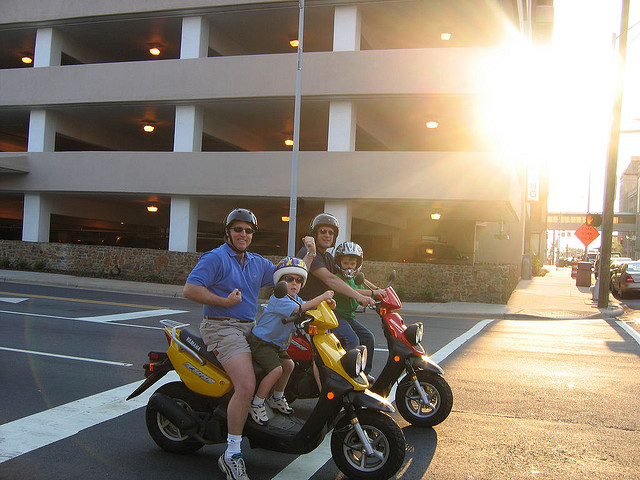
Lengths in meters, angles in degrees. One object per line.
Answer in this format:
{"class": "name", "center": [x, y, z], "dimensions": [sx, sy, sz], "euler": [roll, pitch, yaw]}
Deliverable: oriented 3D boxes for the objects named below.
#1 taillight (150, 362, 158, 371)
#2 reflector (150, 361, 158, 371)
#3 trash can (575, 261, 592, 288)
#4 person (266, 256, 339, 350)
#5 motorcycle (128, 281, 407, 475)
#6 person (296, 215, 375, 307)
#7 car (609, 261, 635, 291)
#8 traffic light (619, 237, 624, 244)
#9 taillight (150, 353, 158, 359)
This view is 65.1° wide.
{"class": "taillight", "center": [-1.712, 1.295, 5.135], "dimensions": [0.042, 0.066, 0.024], "euler": [-1, -17, 15]}
{"class": "reflector", "center": [-1.704, 1.286, 5.124], "dimensions": [0.025, 0.093, 0.086], "euler": [7, -7, -8]}
{"class": "trash can", "center": [15.877, 2.068, 30.295], "dimensions": [0.843, 1.241, 0.973], "euler": [1, -1, 33]}
{"class": "person", "center": [-0.380, 0.545, 4.957], "dimensions": [0.891, 0.681, 0.576], "euler": [-7, -2, 35]}
{"class": "motorcycle", "center": [-0.436, 1.301, 5.600], "dimensions": [2.530, 2.140, 1.601], "euler": [1, 5, 12]}
{"class": "person", "center": [0.061, 0.234, 5.929], "dimensions": [0.715, 0.661, 1.076], "euler": [3, -7, -19]}
{"class": "car", "center": [14.852, 1.814, 24.656], "dimensions": [1.270, 1.366, 2.541], "euler": [-1, 4, 22]}
{"class": "traffic light", "center": [75.853, -0.042, 126.079], "dimensions": [0.978, 1.996, 1.025], "euler": [-11, 11, -19]}
{"class": "taillight", "center": [-1.705, 1.195, 5.173], "dimensions": [0.076, 0.080, 0.043], "euler": [3, 12, -1]}
